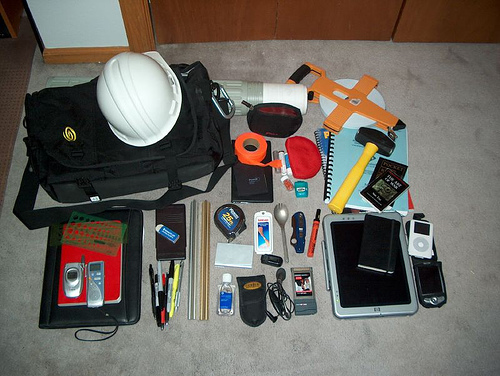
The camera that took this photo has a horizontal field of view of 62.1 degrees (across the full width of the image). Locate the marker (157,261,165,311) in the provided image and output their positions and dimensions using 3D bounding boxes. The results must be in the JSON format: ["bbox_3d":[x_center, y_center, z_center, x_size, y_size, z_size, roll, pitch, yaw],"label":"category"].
[{"bbox_3d":[-0.416,0.457,1.921,0.026,0.033,0.241,-9,66,7],"label":"marker"}]

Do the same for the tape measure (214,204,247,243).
[{"bbox_3d":[-0.094,0.181,2.044,0.154,0.067,0.217,-6,55,-15],"label":"tape measure"}]

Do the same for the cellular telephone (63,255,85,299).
[{"bbox_3d":[-0.789,0.405,1.834,0.089,0.045,0.153,-4,72,-11],"label":"cellular telephone"}]

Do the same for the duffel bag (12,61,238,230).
[{"bbox_3d":[-0.665,-0.294,2.125,1.106,0.349,0.853,-11,64,-14],"label":"duffel bag"}]

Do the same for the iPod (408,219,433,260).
[{"bbox_3d":[0.827,0.251,2.022,0.115,0.065,0.180,8,60,2],"label":"iPod"}]

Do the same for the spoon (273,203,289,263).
[{"bbox_3d":[0.149,0.218,2.025,0.058,0.041,0.282,0,78,-18],"label":"spoon"}]

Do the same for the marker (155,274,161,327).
[{"bbox_3d":[-0.421,0.515,1.898,0.024,0.022,0.222,-7,70,3],"label":"marker"}]

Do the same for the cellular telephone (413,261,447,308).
[{"bbox_3d":[0.856,0.457,1.962,0.128,0.056,0.213,-5,71,5],"label":"cellular telephone"}]

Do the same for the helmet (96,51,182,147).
[{"bbox_3d":[-0.508,-0.385,1.900,0.345,0.251,0.394,-6,52,-7],"label":"helmet"}]

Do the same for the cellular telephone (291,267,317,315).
[{"bbox_3d":[0.251,0.480,1.949,0.100,0.047,0.206,-2,61,-4],"label":"cellular telephone"}]
